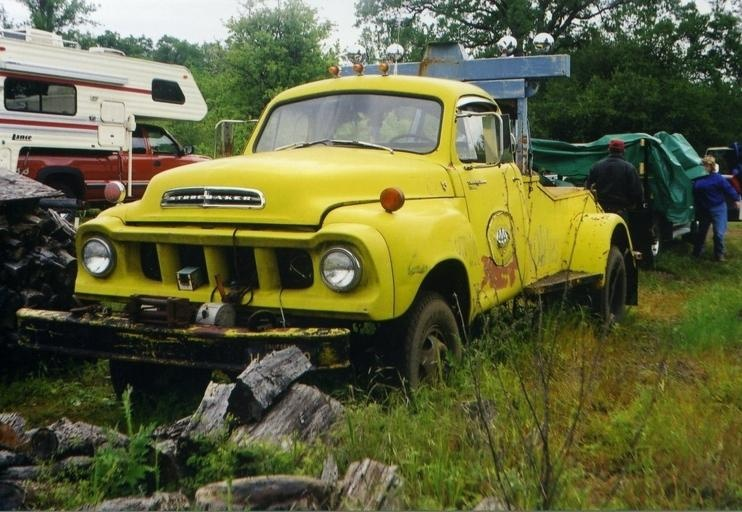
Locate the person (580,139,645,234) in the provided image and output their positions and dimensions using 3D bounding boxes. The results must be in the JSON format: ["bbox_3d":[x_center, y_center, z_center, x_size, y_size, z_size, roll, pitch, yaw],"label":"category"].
[{"bbox_3d":[4.295,-1.189,11.140,0.894,1.572,0.905,-4,10,-38],"label":"person"}]

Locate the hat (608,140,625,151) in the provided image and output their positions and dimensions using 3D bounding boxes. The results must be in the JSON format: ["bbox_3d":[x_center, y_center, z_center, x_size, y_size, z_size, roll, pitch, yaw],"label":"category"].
[{"bbox_3d":[4.257,-1.871,11.108,0.223,0.146,0.386,3,13,17],"label":"hat"}]

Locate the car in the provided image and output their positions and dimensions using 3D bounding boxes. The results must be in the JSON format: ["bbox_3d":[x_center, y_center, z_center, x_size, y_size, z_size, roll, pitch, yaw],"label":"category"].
[{"bbox_3d":[5.539,-1.660,13.957,3.837,2.553,3.184,-1,9,9],"label":"car"}]
